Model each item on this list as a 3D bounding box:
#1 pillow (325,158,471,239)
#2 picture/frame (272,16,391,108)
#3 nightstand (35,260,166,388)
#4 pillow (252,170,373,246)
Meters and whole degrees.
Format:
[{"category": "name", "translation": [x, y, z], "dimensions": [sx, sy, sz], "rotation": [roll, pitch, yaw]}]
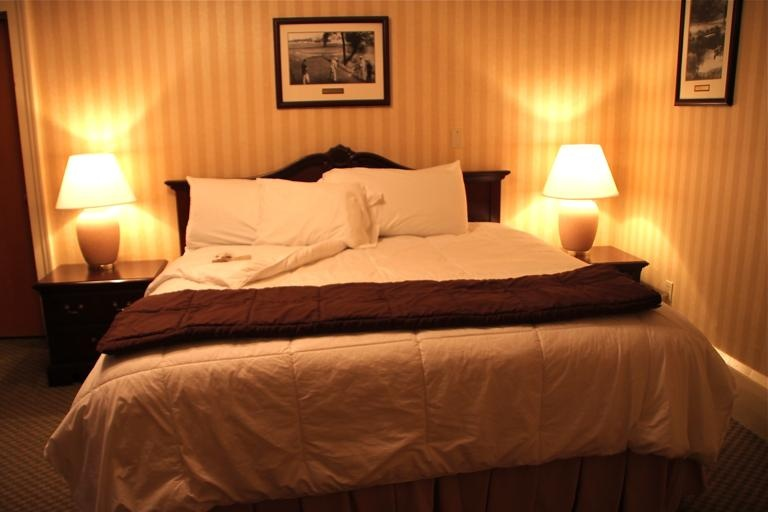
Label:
[{"category": "pillow", "translation": [0.074, -0.389, 3.968], "dimensions": [0.683, 0.403, 0.167], "rotation": [-3, -27, -7]}, {"category": "picture/frame", "translation": [-0.426, -1.476, 4.221], "dimensions": [0.737, 0.485, 0.032], "rotation": [-1, 12, -2]}, {"category": "nightstand", "translation": [-1.935, 0.367, 4.091], "dimensions": [0.980, 0.880, 0.735], "rotation": [-1, 12, -8]}, {"category": "pillow", "translation": [-0.474, -0.276, 3.762], "dimensions": [0.652, 0.444, 0.172], "rotation": [-3, -19, -1]}]
